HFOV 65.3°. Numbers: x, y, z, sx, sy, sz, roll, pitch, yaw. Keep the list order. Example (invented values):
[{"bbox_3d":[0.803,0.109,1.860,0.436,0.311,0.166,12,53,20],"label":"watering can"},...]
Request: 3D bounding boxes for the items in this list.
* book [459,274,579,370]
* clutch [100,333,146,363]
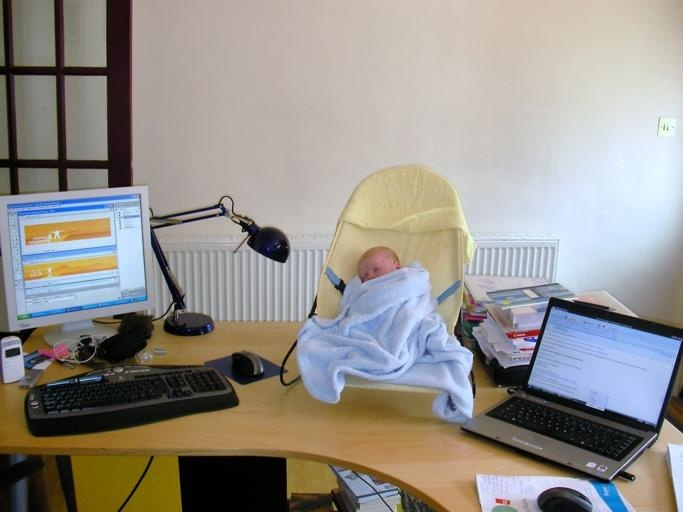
[{"bbox_3d":[0.650,0.228,2.077,0.274,0.132,0.386,-2,26,2],"label":"book"},{"bbox_3d":[-0.820,0.332,2.007,0.093,0.031,0.124,24,29,37],"label":"clutch"}]
